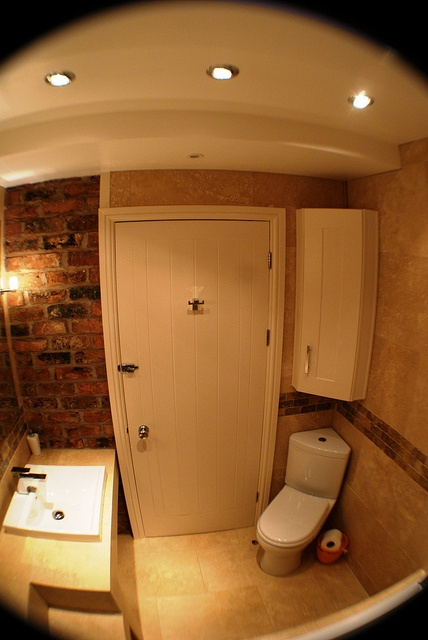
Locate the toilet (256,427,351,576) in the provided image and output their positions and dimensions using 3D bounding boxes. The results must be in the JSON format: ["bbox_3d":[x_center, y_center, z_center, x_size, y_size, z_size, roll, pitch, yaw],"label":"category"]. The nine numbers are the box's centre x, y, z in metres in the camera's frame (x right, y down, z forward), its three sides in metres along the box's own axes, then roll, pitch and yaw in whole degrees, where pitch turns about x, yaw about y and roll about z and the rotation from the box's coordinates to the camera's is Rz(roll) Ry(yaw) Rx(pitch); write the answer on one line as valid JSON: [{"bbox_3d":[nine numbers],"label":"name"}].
[{"bbox_3d":[0.361,0.814,1.940,0.245,0.494,0.505,16,20,28],"label":"toilet"}]

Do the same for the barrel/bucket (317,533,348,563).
[{"bbox_3d":[0.512,0.960,1.977,0.105,0.121,0.131,9,12,34],"label":"barrel/bucket"}]

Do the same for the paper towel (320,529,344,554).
[{"bbox_3d":[0.513,0.955,1.963,0.078,0.072,0.092,20,5,32],"label":"paper towel"}]

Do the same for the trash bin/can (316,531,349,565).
[{"bbox_3d":[0.511,0.972,1.937,0.106,0.124,0.134,11,17,32],"label":"trash bin/can"}]

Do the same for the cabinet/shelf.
[{"bbox_3d":[0.466,-0.054,1.800,0.329,0.782,0.164,12,20,39],"label":"cabinet/shelf"}]
